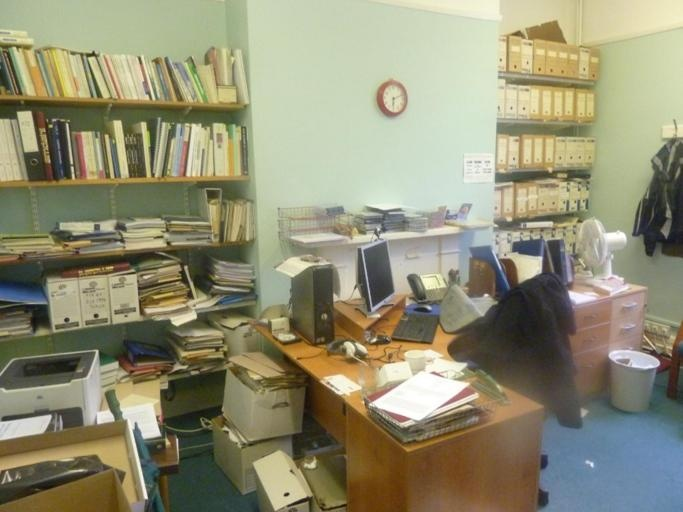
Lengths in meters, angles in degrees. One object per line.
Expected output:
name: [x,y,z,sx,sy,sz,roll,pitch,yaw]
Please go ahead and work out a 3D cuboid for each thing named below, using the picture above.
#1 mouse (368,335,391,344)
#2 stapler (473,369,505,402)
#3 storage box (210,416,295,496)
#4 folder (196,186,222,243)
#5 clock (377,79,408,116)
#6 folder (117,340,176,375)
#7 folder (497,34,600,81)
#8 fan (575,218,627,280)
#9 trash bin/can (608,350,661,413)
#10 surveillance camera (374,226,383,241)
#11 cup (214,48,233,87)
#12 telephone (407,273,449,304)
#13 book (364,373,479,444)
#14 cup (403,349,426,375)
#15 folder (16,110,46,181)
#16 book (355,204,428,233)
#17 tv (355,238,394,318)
mouse: [0.227,0.519,3.260,0.097,0.034,0.068,1,4,5]
stapler: [0.755,0.663,2.657,0.064,0.072,0.205,-10,13,-14]
storage box: [-0.600,1.266,3.456,0.450,0.266,0.443,-6,16,-36]
folder: [-0.991,-0.300,3.892,0.137,0.355,0.375,-2,12,-23]
clock: [0.402,-1.309,4.266,0.287,0.308,0.063,-10,12,-31]
folder: [-1.386,0.696,3.773,0.284,0.108,0.278,1,13,-37]
folder: [2.064,-1.953,5.139,1.337,0.408,0.126,-10,13,-28]
fan: [2.139,-0.085,4.294,0.346,0.536,0.689,1,12,25]
trash bin/can: [2.213,0.975,4.135,0.421,0.433,0.452,1,5,16]
surveillance camera: [0.278,-0.173,3.991,0.065,0.106,0.119,3,15,19]
cup: [-0.881,-1.392,3.825,0.143,0.238,0.247,-4,14,-15]
telephone: [0.643,0.235,3.845,0.231,0.236,0.096,-6,-25,-22]
book: [0.398,0.725,2.498,0.478,0.165,0.346,-10,12,-29]
cup: [0.401,0.593,2.863,0.092,0.081,0.118,-2,2,9]
folder: [-1.987,-0.703,3.318,0.090,0.357,0.360,-5,13,-9]
book: [0.391,-0.307,4.266,0.590,0.236,0.226,-7,11,-15]
tv: [0.217,0.156,3.484,0.206,0.451,0.462,-8,11,23]
